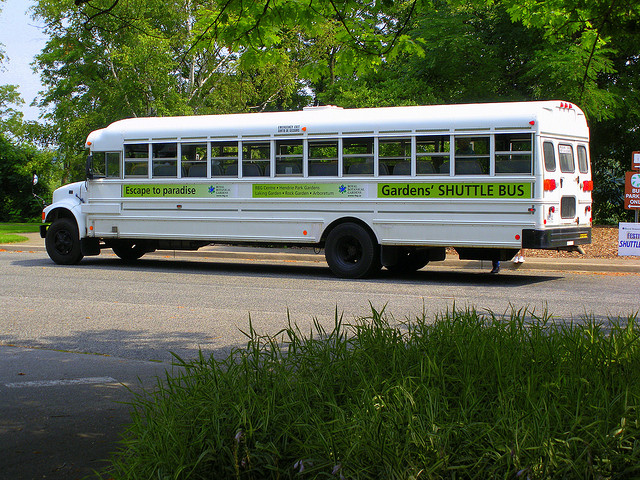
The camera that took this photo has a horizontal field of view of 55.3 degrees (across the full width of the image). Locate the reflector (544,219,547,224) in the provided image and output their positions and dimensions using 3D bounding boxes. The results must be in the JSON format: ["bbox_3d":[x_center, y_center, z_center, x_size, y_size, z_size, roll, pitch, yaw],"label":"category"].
[{"bbox_3d":[4.432,-0.377,12.022,0.082,0.089,0.020,-1,1,-28],"label":"reflector"}]

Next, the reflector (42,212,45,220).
[{"bbox_3d":[-7.314,-0.649,16.099,0.051,0.183,0.149,-2,2,-25],"label":"reflector"}]

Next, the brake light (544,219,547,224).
[{"bbox_3d":[4.449,-0.375,12.041,0.012,0.086,0.106,0,2,42],"label":"brake light"}]

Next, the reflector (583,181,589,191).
[{"bbox_3d":[5.848,-1.198,13.422,0.178,0.193,0.070,5,2,40],"label":"reflector"}]

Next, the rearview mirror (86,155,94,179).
[{"bbox_3d":[-5.909,-1.870,15.640,0.187,0.570,0.227,-2,2,-20],"label":"rearview mirror"}]

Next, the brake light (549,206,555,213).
[{"bbox_3d":[4.642,-0.627,12.220,0.086,0.130,0.052,7,-3,-29],"label":"brake light"}]

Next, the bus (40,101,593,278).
[{"bbox_3d":[-0.974,-1.075,15.241,12.126,3.689,3.121,1,-2,10],"label":"bus"}]

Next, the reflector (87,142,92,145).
[{"bbox_3d":[-6.007,-2.521,15.848,0.064,0.046,0.066,-5,-8,-20],"label":"reflector"}]

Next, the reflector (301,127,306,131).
[{"bbox_3d":[-0.372,-2.501,13.723,0.076,0.084,0.019,6,1,6],"label":"reflector"}]

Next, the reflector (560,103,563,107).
[{"bbox_3d":[5.064,-2.824,12.781,0.013,0.060,0.060,3,9,-7],"label":"reflector"}]

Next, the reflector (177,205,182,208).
[{"bbox_3d":[-3.431,-0.829,14.831,0.077,0.060,0.047,1,3,8],"label":"reflector"}]

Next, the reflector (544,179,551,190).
[{"bbox_3d":[4.491,-1.114,12.107,0.103,0.210,0.134,-2,26,8],"label":"reflector"}]

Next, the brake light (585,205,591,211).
[{"bbox_3d":[5.937,-0.711,13.537,0.116,0.126,0.038,3,5,-25],"label":"brake light"}]

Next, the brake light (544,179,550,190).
[{"bbox_3d":[4.502,-1.112,12.119,0.027,0.198,0.180,0,2,44],"label":"brake light"}]

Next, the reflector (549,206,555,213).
[{"bbox_3d":[4.646,-0.614,12.226,0.094,0.139,0.048,0,-3,-9],"label":"reflector"}]
